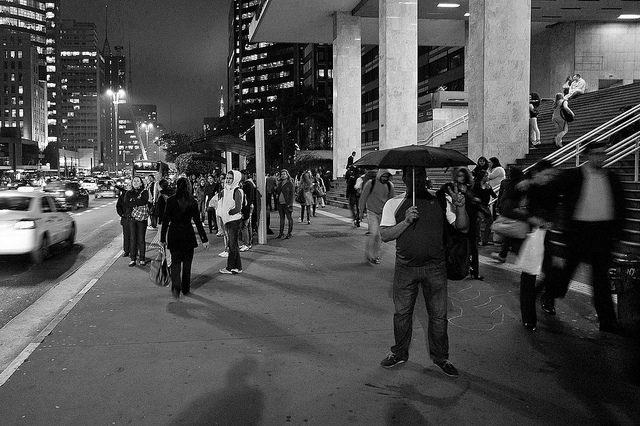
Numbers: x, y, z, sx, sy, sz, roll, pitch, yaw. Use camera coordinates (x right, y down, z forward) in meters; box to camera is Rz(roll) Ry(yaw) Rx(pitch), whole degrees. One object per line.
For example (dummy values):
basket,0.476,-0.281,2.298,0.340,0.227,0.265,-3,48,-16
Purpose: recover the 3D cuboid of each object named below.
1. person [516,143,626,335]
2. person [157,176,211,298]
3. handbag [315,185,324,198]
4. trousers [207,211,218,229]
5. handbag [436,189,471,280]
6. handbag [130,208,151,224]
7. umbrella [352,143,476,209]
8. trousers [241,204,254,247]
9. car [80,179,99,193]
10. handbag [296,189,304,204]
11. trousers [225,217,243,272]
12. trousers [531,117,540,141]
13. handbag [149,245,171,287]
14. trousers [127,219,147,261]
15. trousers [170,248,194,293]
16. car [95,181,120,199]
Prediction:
person,4.202,0.420,8.498,1.263,3.009,0.539,3,9,24
person,-2.786,0.444,10.913,0.949,2.356,0.920,-9,12,-44
handbag,0.005,-1.096,27.795,0.524,0.442,0.428,6,-6,-34
trousers,-4.095,0.289,20.795,0.298,0.769,1.020,-2,9,-6
handbag,1.880,0.395,7.897,0.594,1.218,0.481,-9,-7,28
handbag,-4.444,0.045,13.385,0.451,0.361,0.355,-5,10,-25
umbrella,1.400,-0.678,8.248,1.176,0.692,1.190,-2,1,4
trousers,-2.150,0.395,16.155,0.327,1.260,0.848,-2,9,-8
car,-21.508,-2.490,50.500,1.390,1.161,2.392,0,21,-22
handbag,-0.812,-0.628,23.362,0.432,0.808,0.691,5,-3,-5
trousers,-2.038,0.724,12.815,0.487,1.327,0.579,-1,0,-8
trousers,8.280,-3.212,20.725,0.244,0.874,0.397,-1,9,-6
handbag,-3.085,1.062,10.458,0.447,0.759,0.404,13,6,26
trousers,-4.576,0.628,13.688,0.485,1.282,0.361,3,18,-14
trousers,-2.769,1.145,10.728,0.333,0.944,0.642,3,10,22
car,-18.522,-1.970,47.054,1.867,1.575,3.493,-1,8,-15
